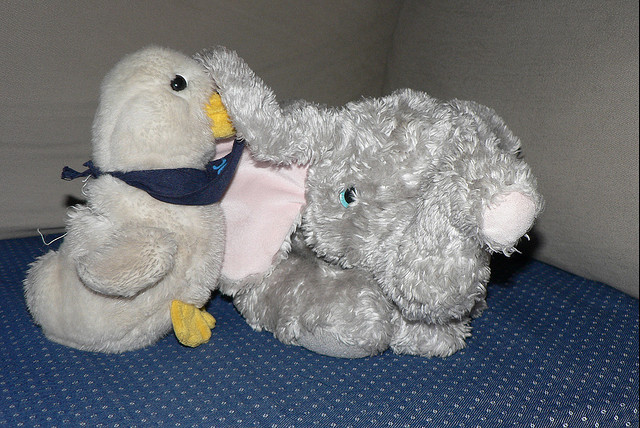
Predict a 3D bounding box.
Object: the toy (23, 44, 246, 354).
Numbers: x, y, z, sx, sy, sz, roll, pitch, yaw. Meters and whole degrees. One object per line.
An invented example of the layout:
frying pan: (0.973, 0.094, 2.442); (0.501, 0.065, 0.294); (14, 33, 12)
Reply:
toy: (-0.379, -0.020, 1.408); (0.399, 0.565, 0.440); (16, 38, 16)

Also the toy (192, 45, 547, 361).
toy: (0.111, -0.006, 1.679); (0.814, 0.607, 0.782); (-5, 21, 0)
